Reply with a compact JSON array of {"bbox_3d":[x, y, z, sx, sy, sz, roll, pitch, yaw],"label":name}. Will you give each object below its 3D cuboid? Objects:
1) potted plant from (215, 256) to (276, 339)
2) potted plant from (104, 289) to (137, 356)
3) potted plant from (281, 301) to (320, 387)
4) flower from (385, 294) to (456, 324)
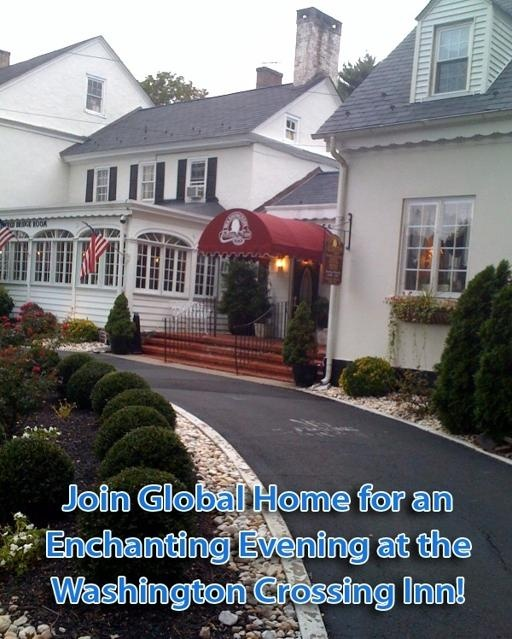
[{"bbox_3d":[-0.686,-0.721,18.574,2.177,3.296,2.346,1,1,10],"label":"potted plant"},{"bbox_3d":[-4.172,0.153,17.382,0.840,1.481,0.761,4,1,13],"label":"potted plant"},{"bbox_3d":[1.165,0.543,13.371,0.958,2.026,0.987,19,-24,-41],"label":"potted plant"},{"bbox_3d":[3.353,-0.208,11.514,1.421,0.605,0.486,5,2,44],"label":"flower"}]
